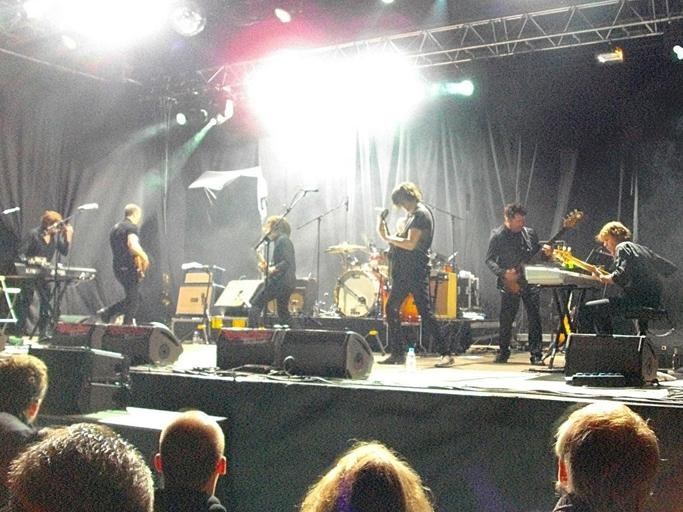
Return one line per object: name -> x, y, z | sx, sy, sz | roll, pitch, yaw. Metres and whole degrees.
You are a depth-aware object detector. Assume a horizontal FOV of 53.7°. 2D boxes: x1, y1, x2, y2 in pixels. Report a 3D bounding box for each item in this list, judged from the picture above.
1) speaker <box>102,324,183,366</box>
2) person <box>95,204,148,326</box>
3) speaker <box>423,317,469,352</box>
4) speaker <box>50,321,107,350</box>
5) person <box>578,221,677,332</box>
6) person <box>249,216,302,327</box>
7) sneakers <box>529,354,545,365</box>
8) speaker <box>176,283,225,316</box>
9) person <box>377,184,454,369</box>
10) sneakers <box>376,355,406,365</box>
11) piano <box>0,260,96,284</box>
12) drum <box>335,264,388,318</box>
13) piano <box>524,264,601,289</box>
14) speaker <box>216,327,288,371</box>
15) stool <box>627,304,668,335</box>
speaker -> -1.861, 0.929, 6.504 | 0.445, 0.250, 0.464 | -7, -13, 40
person -> -2.719, 0.066, 8.504 | 0.540, 1.548, 0.858 | 3, -5, -20
speaker -> 1.294, 0.982, 8.402 | 0.567, 0.404, 0.593 | -3, -5, 37
speaker -> -2.616, 0.777, 6.670 | 0.616, 0.228, 0.320 | -4, -7, 43
person -> 3.281, 0.259, 7.629 | 0.938, 1.361, 0.613 | -9, -46, 37
person -> -0.870, 0.191, 8.420 | 0.536, 1.363, 2.332 | 2, -6, -8
sneakers -> 2.080, 1.106, 7.202 | 0.081, 0.134, 0.125 | 7, -15, -28
speaker -> -2.485, 0.730, 11.407 | 0.750, 0.550, 0.736 | 2, -5, -1
person -> 0.825, 0.191, 7.371 | 0.752, 1.929, 1.419 | 1, -5, 9
sneakers -> 0.522, 1.077, 7.124 | 0.285, 0.109, 0.226 | 1, -6, 6
piano -> -3.616, 0.193, 8.385 | 0.998, 0.269, 0.588 | 5, -7, -31
drum -> 0.298, 0.587, 10.091 | 0.838, 0.962, 0.596 | -7, -9, 44
piano -> 2.062, 0.189, 6.237 | 0.701, 0.186, 0.403 | 5, -7, -31
speaker -> -0.814, 0.814, 5.903 | 0.615, 0.360, 0.389 | 3, 21, 7
stool -> 3.169, 0.659, 7.017 | 0.322, 0.375, 0.465 | -2, -5, 45
